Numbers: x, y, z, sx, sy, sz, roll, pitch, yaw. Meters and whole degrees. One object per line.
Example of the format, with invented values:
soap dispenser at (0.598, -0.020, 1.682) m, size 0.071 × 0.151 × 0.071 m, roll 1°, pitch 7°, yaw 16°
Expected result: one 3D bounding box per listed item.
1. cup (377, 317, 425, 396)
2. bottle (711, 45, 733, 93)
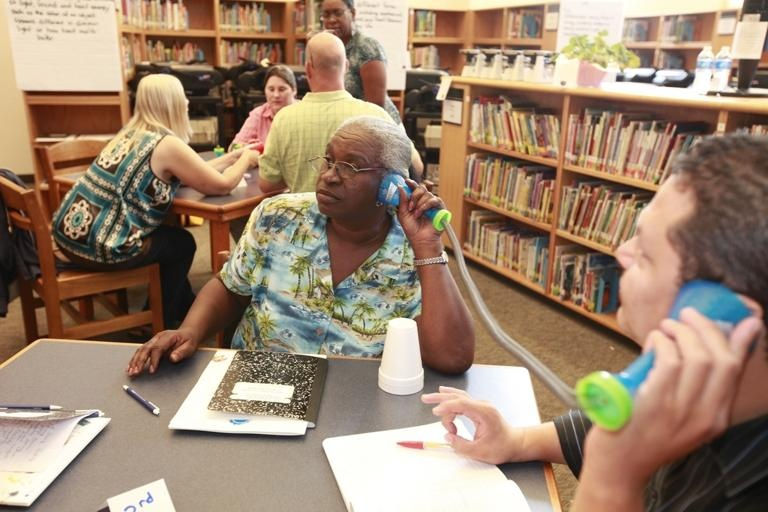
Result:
cup at (0.061, 0.261, 1.510) m, size 0.180 × 0.198 × 0.176 m, roll 1°, pitch 13°, yaw 0°
bottle at (1.975, -1.098, 3.162) m, size 0.111 × 0.228 × 0.409 m, roll 18°, pitch 28°, yaw 26°
